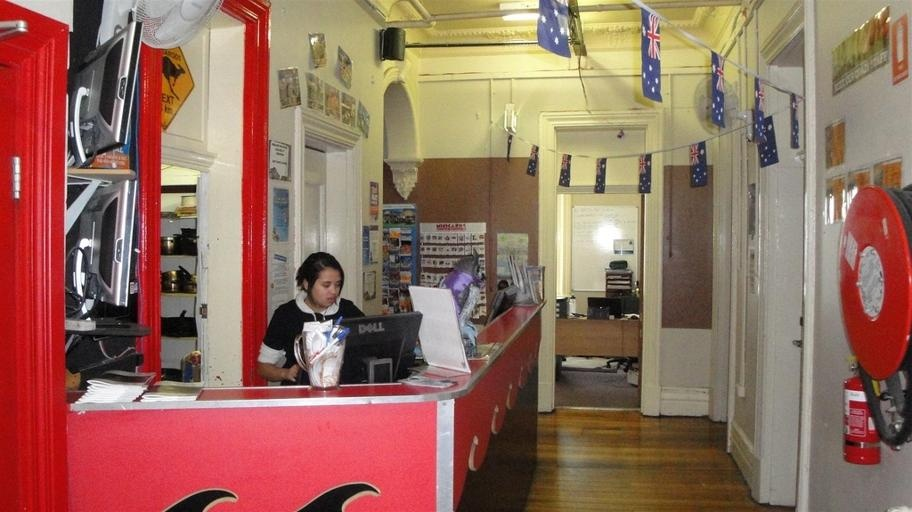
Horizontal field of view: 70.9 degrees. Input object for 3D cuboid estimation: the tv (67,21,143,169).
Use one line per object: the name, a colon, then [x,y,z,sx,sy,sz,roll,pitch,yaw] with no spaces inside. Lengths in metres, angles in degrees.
tv: [-2.120,-0.884,3.766,0.264,0.713,1.061,15,-15,-38]

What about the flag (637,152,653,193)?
flag: [2.145,-0.936,7.266,0.127,0.434,0.252,5,12,13]

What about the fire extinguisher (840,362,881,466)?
fire extinguisher: [2.608,1.069,4.121,0.263,0.621,0.200,11,15,36]

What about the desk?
desk: [2.072,1.145,9.375,1.275,0.789,0.649,1,6,8]

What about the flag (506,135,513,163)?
flag: [0.708,-1.406,8.407,0.063,0.338,0.132,3,12,5]

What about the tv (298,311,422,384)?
tv: [-0.529,0.647,4.035,0.625,0.592,0.318,1,18,-26]

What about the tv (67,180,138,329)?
tv: [-2.057,-0.036,3.716,0.240,0.689,0.706,2,17,-46]

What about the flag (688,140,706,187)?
flag: [2.496,-0.936,6.618,0.184,0.481,0.012,-10,17,-2]

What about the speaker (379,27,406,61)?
speaker: [-0.695,-2.385,7.276,0.244,0.317,0.234,13,18,36]

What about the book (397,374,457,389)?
book: [-0.165,0.765,3.878,0.323,0.021,0.194,6,12,19]

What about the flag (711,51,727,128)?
flag: [1.995,-1.263,4.890,0.107,0.512,0.505,7,13,22]

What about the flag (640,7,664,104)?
flag: [1.357,-1.396,4.475,0.176,0.615,0.359,5,12,14]

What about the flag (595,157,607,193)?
flag: [1.690,-0.933,7.461,0.108,0.408,0.410,4,12,10]

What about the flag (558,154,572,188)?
flag: [1.293,-1.002,7.577,0.124,0.367,0.268,3,12,5]

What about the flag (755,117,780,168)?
flag: [2.544,-0.935,5.275,0.196,0.447,0.045,-4,-3,-20]

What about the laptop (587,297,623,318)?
laptop: [2.236,0.871,9.608,0.494,0.302,0.333,0,5,4]

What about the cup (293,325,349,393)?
cup: [-0.770,0.603,3.796,0.348,0.383,0.336,0,-16,0]
